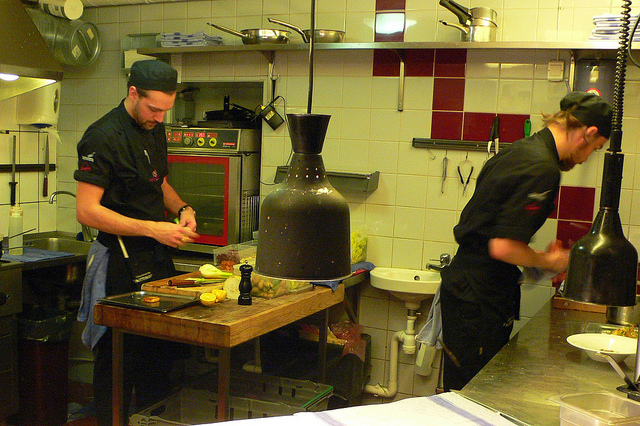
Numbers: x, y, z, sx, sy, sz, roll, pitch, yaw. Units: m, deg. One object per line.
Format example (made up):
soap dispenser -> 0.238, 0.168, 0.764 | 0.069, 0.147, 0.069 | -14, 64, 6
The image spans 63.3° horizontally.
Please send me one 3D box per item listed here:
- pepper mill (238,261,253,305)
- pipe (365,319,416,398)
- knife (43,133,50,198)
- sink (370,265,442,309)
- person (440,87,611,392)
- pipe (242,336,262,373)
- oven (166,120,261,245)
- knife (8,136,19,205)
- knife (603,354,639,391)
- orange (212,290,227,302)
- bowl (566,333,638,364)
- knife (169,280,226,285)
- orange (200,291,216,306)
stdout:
pepper mill -> -0.404, 0.381, 2.787 | 0.076, 0.212, 0.126 | 2, 3, -8
pipe -> 0.538, 1.094, 3.929 | 0.363, 0.655, 0.122 | 3, 3, 23
knife -> -2.384, -0.393, 4.488 | 0.047, 0.521, 0.120 | 1, 3, -27
sink -> 0.676, 0.593, 3.781 | 0.596, 0.273, 0.397 | 2, 5, 16
person -> 1.025, 0.170, 2.632 | 0.720, 1.536, 0.360 | 2, 3, -6
pipe -> -0.437, 0.927, 3.422 | 0.064, 0.229, 0.166 | 13, -16, -42
oven -> -0.907, -0.170, 4.332 | 0.834, 0.895, 0.637 | 11, 11, 26
knife -> -2.517, -0.349, 4.225 | 0.049, 0.558, 0.092 | 1, 3, -20
knife -> 1.079, 0.576, 1.857 | 0.121, 0.113, 0.105 | -1, 4, -38
orange -> -0.534, 0.440, 2.743 | 0.064, 0.041, 0.065 | 1, 2, 1
bowl -> 1.211, 0.564, 2.213 | 0.224, 0.044, 0.203 | -3, 9, -10
knife -> -0.714, 0.393, 2.939 | 0.271, 0.022, 0.034 | -1, -3, -20
orange -> -0.582, 0.436, 2.678 | 0.069, 0.030, 0.068 | 25, 35, 25
